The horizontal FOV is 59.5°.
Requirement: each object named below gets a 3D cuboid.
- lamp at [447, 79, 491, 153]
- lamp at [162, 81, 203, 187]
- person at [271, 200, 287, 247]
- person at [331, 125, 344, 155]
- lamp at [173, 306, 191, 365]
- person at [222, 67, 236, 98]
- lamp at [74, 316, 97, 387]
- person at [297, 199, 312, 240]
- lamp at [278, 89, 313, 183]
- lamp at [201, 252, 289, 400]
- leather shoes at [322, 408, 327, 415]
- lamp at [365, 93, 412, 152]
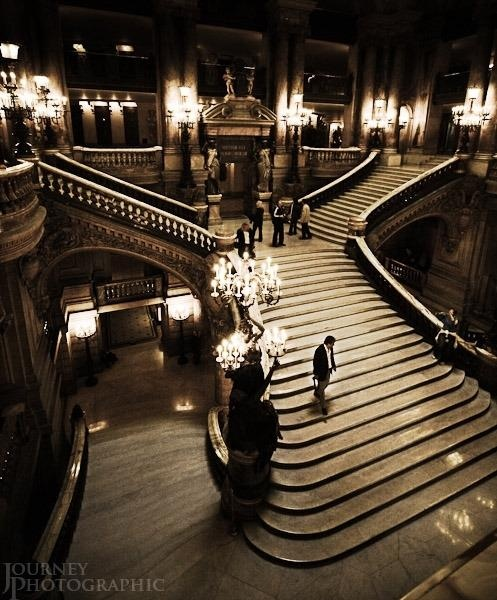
[{"bbox_3d":[7.068,-5.778,13.937,1.166,2.094,1.060,-1,7,3],"label":"lamp"},{"bbox_3d":[-1.798,-4.652,12.257,0.976,2.963,1.308,-5,8,-28],"label":"lamp"},{"bbox_3d":[0.854,-2.029,11.754,0.392,1.275,0.365,16,38,21],"label":"person"},{"bbox_3d":[4.194,-7.781,20.688,0.500,1.145,1.089,-1,8,7],"label":"person"},{"bbox_3d":[-1.946,1.027,12.831,0.487,1.620,0.677,-3,7,-8],"label":"lamp"},{"bbox_3d":[-0.560,-6.368,12.753,0.297,0.839,0.636,-1,8,4],"label":"person"},{"bbox_3d":[-4.230,1.375,11.464,0.511,1.706,1.140,-4,8,-20],"label":"lamp"},{"bbox_3d":[1.668,-2.334,12.777,0.306,1.116,1.256,-1,8,7],"label":"person"},{"bbox_3d":[1.537,-5.253,14.215,0.907,2.790,1.559,-3,8,-12],"label":"lamp"},{"bbox_3d":[0.038,0.644,5.734,0.939,2.220,0.994,-5,10,-15],"label":"lamp"},{"bbox_3d":[1.256,1.818,7.192,0.072,0.160,0.084,10,35,16],"label":"leather shoes"},{"bbox_3d":[5.086,-6.634,16.060,1.397,2.135,1.421,-7,38,-10],"label":"lamp"}]
